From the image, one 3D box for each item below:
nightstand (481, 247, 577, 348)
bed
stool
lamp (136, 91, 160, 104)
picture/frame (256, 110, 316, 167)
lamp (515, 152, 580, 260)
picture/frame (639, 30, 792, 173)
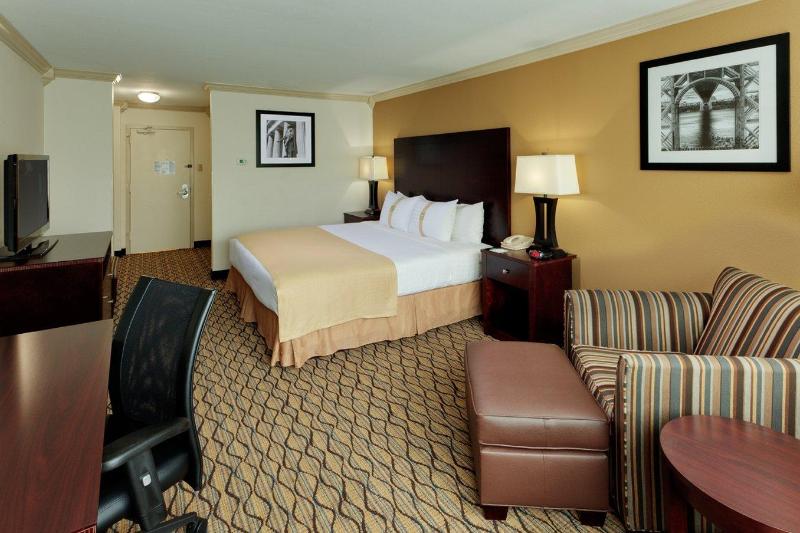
[{"bbox_3d":[1.165,0.291,4.906,0.496,0.868,0.758,-10,14,-27],"label":"nightstand"},{"bbox_3d":[-0.468,-0.502,5.611,2.434,1.881,2.483,-9,15,-33],"label":"bed"},{"bbox_3d":[0.793,0.943,3.237,0.696,0.688,1.271,2,13,2],"label":"stool"},{"bbox_3d":[-3.246,-2.227,6.831,0.213,0.055,0.222,-2,3,-14],"label":"lamp"},{"bbox_3d":[-1.497,-1.693,6.832,0.704,0.659,0.068,-7,13,-32],"label":"picture/frame"},{"bbox_3d":[1.307,-0.550,4.689,0.571,0.886,0.478,-7,13,-33],"label":"lamp"},{"bbox_3d":[2.335,-1.219,3.852,0.042,1.002,1.117,-4,5,-38],"label":"picture/frame"}]
